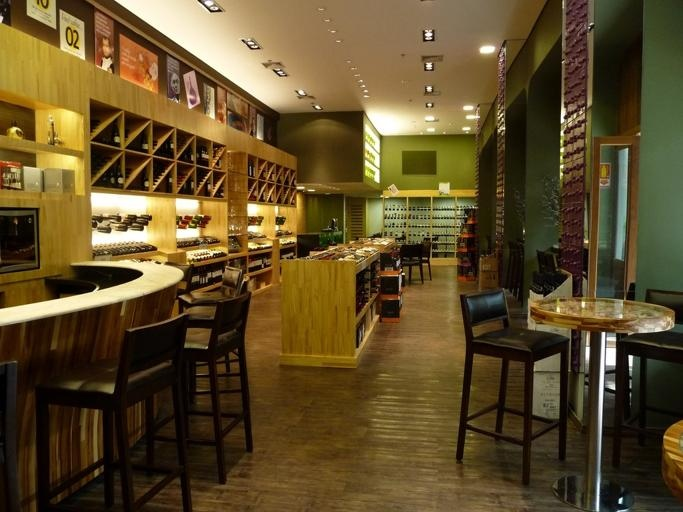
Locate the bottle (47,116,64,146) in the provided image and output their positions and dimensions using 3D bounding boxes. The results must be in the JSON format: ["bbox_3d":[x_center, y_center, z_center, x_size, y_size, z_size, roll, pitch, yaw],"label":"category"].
[{"bbox_3d":[-3.326,-1.465,5.849,0.156,0.361,0.386,-5,9,-28],"label":"bottle"}]
